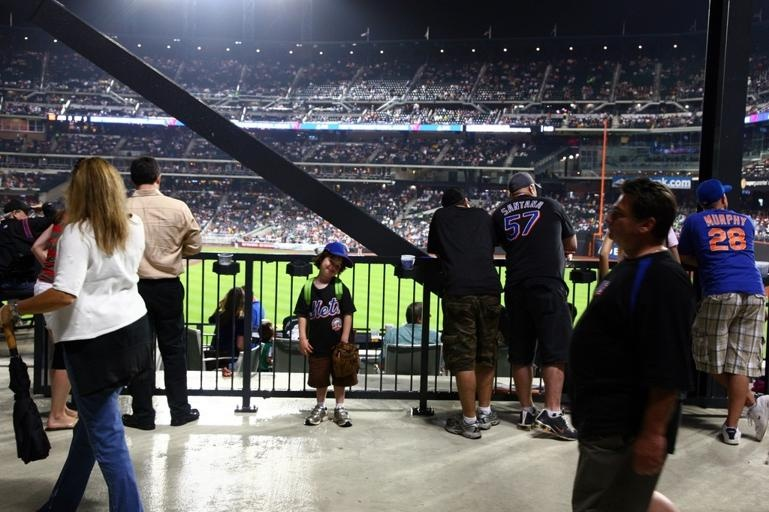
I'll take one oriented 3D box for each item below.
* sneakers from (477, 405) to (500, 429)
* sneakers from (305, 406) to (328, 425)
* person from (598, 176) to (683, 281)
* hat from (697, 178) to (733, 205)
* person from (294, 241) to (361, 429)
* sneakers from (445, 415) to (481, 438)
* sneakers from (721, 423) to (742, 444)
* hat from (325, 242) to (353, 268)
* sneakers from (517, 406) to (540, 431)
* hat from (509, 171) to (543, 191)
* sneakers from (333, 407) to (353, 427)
[{"bbox_3d":[0.960,1.496,6.285,0.118,0.125,0.272,0,0,29],"label":"sneakers"},{"bbox_3d":[-0.632,1.436,6.270,0.191,0.156,0.220,0,14,-5],"label":"sneakers"},{"bbox_3d":[2.140,-0.202,5.800,0.809,1.078,0.831,-1,-2,19],"label":"person"},{"bbox_3d":[3.071,-0.629,6.330,0.338,0.167,0.213,-38,26,-32],"label":"hat"},{"bbox_3d":[-0.544,0.695,6.284,0.558,1.626,0.639,-1,14,-8],"label":"person"},{"bbox_3d":[0.698,1.517,6.168,0.143,0.162,0.354,4,5,-42],"label":"sneakers"},{"bbox_3d":[3.074,1.580,6.004,0.091,0.095,0.231,-4,0,15],"label":"sneakers"},{"bbox_3d":[-0.434,-0.008,6.341,0.284,0.282,0.337,1,14,-2],"label":"hat"},{"bbox_3d":[1.329,1.490,6.264,0.119,0.128,0.300,-1,1,24],"label":"sneakers"},{"bbox_3d":[1.349,-0.723,6.488,0.296,0.157,0.200,-9,9,-20],"label":"hat"},{"bbox_3d":[-0.389,1.454,6.284,0.168,0.168,0.274,0,14,-4],"label":"sneakers"}]
